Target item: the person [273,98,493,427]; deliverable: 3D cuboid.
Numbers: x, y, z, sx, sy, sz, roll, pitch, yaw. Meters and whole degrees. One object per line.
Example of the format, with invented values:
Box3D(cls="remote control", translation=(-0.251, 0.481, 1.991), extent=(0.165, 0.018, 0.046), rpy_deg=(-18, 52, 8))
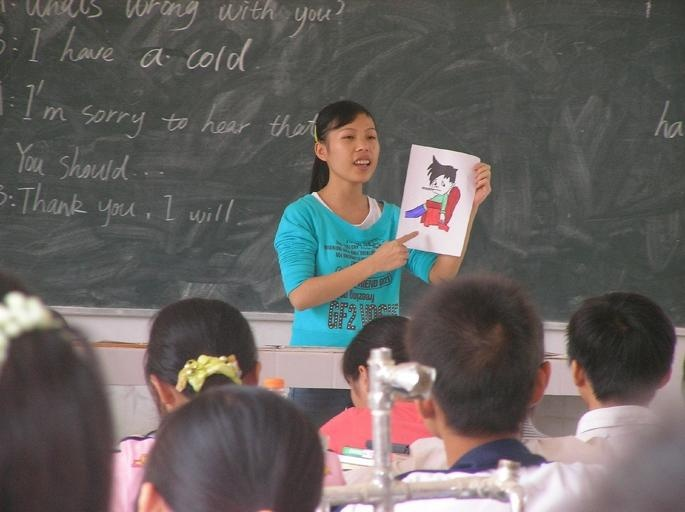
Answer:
Box3D(cls="person", translation=(0.159, 0.271, 2.827), extent=(0.764, 1.553, 0.436), rpy_deg=(2, 6, 19))
